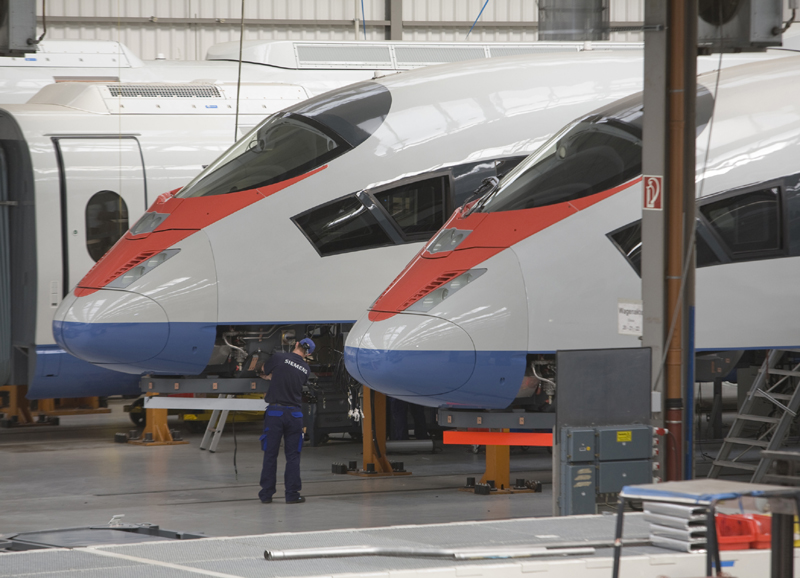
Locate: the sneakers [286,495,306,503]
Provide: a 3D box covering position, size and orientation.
[{"bbox_3d":[-1.223,2.396,15.349,0.252,0.083,0.079,-2,5,-19],"label":"sneakers"}]

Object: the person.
[{"bbox_3d":[-1.341,1.515,15.482,0.530,1.882,0.493,4,-3,-4],"label":"person"}]

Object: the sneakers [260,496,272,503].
[{"bbox_3d":[-1.554,2.411,15.321,0.133,0.064,0.066,1,1,13],"label":"sneakers"}]

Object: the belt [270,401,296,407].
[{"bbox_3d":[-1.361,1.301,15.290,0.287,0.073,0.052,2,-3,-5],"label":"belt"}]
